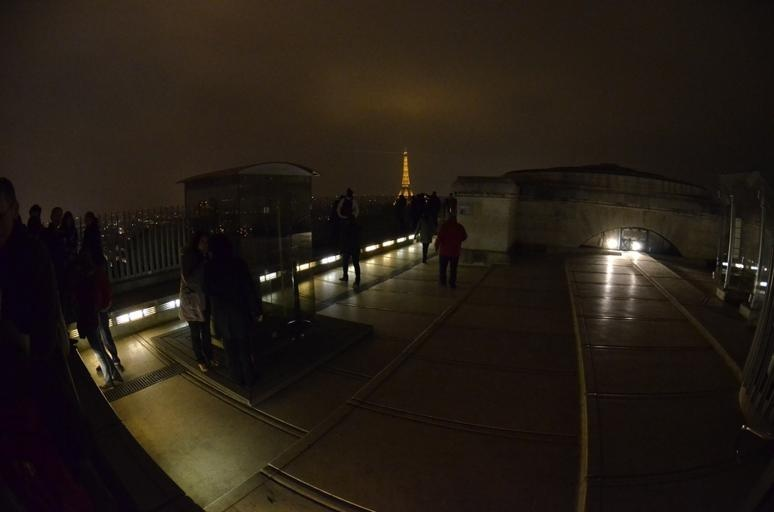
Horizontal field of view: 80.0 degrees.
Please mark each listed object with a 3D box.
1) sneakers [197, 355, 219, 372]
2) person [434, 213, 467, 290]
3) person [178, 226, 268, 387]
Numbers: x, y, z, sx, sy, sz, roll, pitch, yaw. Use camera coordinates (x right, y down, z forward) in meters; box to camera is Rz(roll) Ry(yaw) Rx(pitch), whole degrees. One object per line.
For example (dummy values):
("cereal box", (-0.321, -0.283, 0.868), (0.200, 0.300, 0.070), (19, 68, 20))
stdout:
("sneakers", (-2.782, 1.698, 7.230), (0.141, 0.311, 0.409), (-1, -14, -37))
("person", (1.547, -0.183, 11.503), (0.700, 1.814, 1.167), (-1, 13, 6))
("person", (-2.368, 0.735, 6.808), (1.103, 2.174, 0.552), (7, 15, 36))
